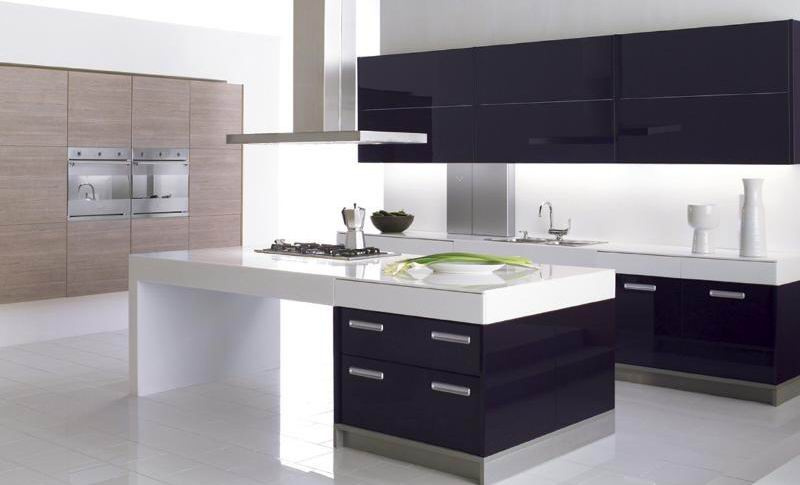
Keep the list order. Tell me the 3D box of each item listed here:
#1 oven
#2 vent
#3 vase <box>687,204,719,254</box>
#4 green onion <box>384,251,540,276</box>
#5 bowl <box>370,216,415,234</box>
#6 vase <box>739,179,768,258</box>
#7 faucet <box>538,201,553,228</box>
[{"bbox_3d":[-3.345,-0.746,6.834,0.603,0.776,1.758,8,10,40],"label":"oven"},{"bbox_3d":[-0.689,-1.485,4.936,1.700,1.190,0.731,1,7,11],"label":"vent"},{"bbox_3d":[2.698,-0.124,4.961,0.235,0.427,0.271,3,7,25],"label":"vase"},{"bbox_3d":[0.405,0.140,3.745,1.016,0.195,0.593,-1,-4,-6],"label":"green onion"},{"bbox_3d":[-0.103,-0.231,6.739,0.494,0.222,0.247,0,6,-3],"label":"bowl"},{"bbox_3d":[3.129,-0.209,4.829,0.267,0.661,0.264,-1,6,39],"label":"vase"},{"bbox_3d":[1.613,-0.312,6.081,0.150,0.292,0.429,2,7,16],"label":"faucet"}]
